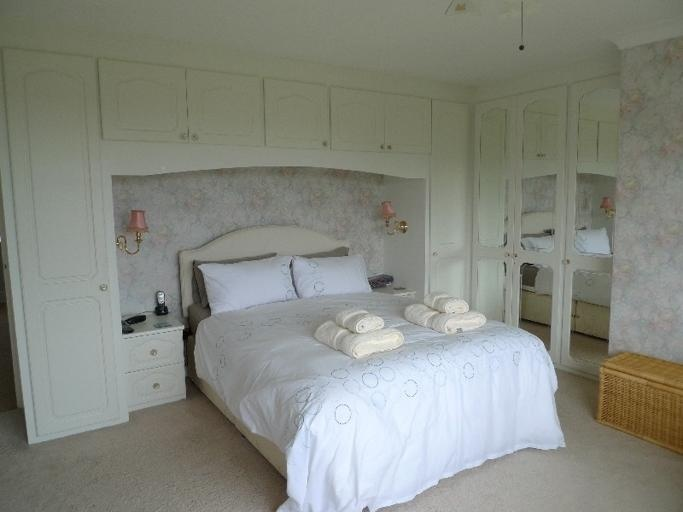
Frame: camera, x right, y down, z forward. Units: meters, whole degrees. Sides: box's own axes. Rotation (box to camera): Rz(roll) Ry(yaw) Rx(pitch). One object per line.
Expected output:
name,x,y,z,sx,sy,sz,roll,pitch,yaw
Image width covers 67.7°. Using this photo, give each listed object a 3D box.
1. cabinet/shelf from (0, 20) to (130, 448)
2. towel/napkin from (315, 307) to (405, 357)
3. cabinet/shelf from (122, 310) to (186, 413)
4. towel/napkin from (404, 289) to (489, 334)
cabinet/shelf,-2.039,-0.056,3.707,0.828,2.788,0.378,-9,15,-23
towel/napkin,0.075,0.474,3.431,0.328,0.166,0.414,-2,1,-28
cabinet/shelf,-1.529,0.891,4.320,0.568,0.782,0.617,-4,4,-30
towel/napkin,0.719,0.392,3.792,0.324,0.167,0.412,-1,0,-23
